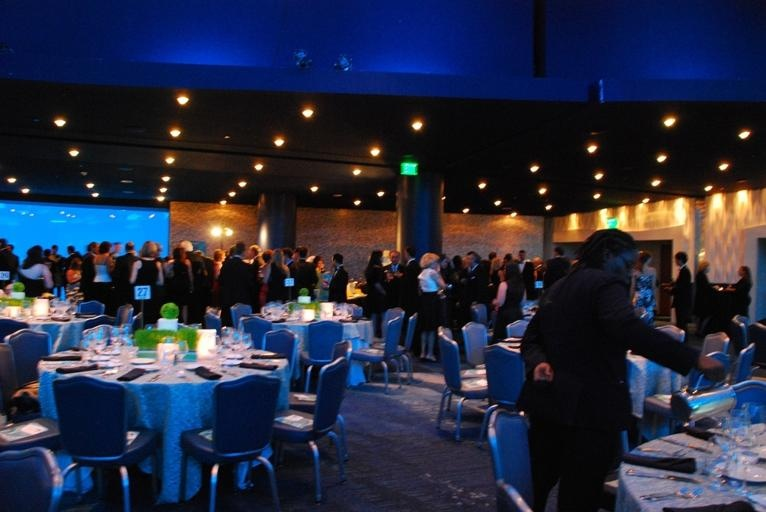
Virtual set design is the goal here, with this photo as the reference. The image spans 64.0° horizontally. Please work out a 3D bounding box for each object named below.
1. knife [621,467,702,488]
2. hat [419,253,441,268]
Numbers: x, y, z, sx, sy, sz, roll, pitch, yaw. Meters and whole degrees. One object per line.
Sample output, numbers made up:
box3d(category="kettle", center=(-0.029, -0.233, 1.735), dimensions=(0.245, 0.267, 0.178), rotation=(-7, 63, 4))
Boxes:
box3d(category="knife", center=(1.835, 1.456, 3.997), dimensions=(0.396, 0.041, 0.085), rotation=(5, 26, 14))
box3d(category="hat", center=(0.767, 0.100, 10.251), dimensions=(0.293, 0.259, 0.226), rotation=(6, 11, 12))
